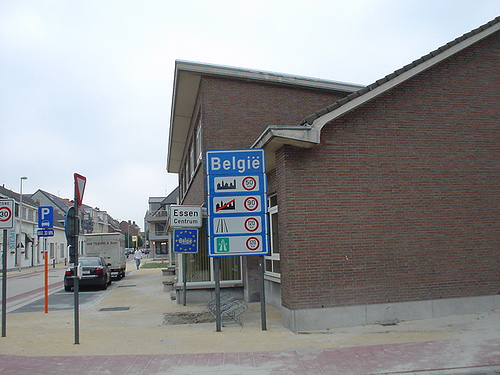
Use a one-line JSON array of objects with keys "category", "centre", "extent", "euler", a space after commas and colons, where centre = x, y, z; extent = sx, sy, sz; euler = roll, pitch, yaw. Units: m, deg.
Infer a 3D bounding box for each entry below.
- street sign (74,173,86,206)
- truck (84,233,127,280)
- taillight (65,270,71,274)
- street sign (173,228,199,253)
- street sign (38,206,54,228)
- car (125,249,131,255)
[{"category": "street sign", "centre": [-3.980, 0.049, 11.170], "extent": [0.231, 0.736, 1.712], "euler": [-1, -6, -20]}, {"category": "truck", "centre": [-9.427, 4.222, 31.635], "extent": [1.943, 2.062, 3.685], "euler": [0, -5, -7]}, {"category": "taillight", "centre": [-8.682, 4.013, 22.808], "extent": [0.290, 0.194, 0.298], "euler": [1, -5, -11]}, {"category": "street sign", "centre": [-2.247, 1.838, 16.704], "extent": [0.846, 0.832, 0.149], "euler": [3, -15, -10]}, {"category": "street sign", "centre": [-6.763, 0.937, 15.837], "extent": [0.404, 0.710, 1.357], "euler": [0, -6, -25]}, {"category": "car", "centre": [-25.749, 13.381, 101.167], "extent": [1.231, 1.160, 2.171], "euler": [1, -13, -12]}]
